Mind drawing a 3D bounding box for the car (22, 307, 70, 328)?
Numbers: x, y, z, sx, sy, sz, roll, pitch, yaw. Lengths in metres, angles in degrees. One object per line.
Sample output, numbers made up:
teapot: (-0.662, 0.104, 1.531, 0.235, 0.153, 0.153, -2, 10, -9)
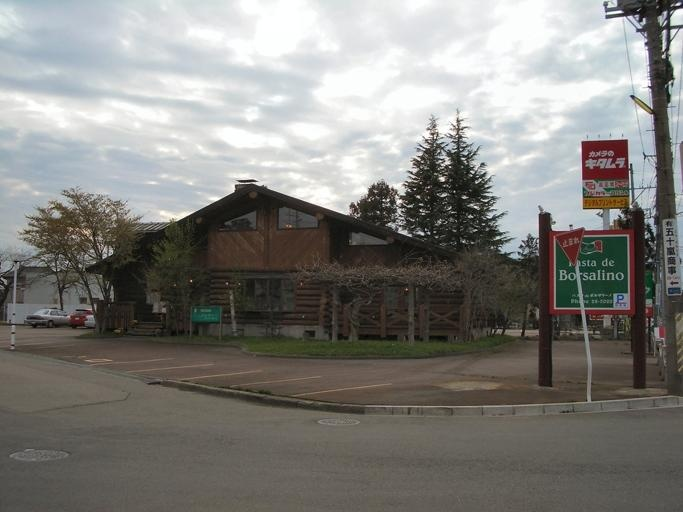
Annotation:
car: (-19.357, 4.148, 43.136, 1.280, 0.863, 2.557, 0, -1, 30)

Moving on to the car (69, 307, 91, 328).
car: (-16.593, 3.987, 41.781, 0.993, 0.836, 1.786, 1, 2, 3)
